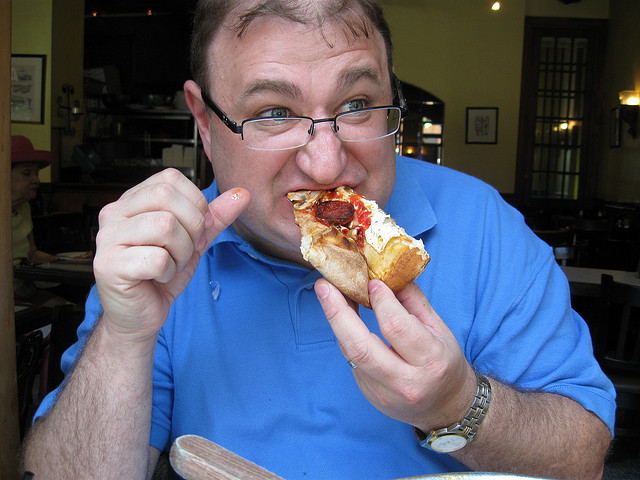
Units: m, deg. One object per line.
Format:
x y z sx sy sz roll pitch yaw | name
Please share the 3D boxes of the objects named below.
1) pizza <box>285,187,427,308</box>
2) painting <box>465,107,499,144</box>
0.114 0.026 1.675 0.464 0.286 0.156 46 -7 18 | pizza
3.096 -2.241 10.005 0.600 0.776 0.061 -1 1 -2 | painting
